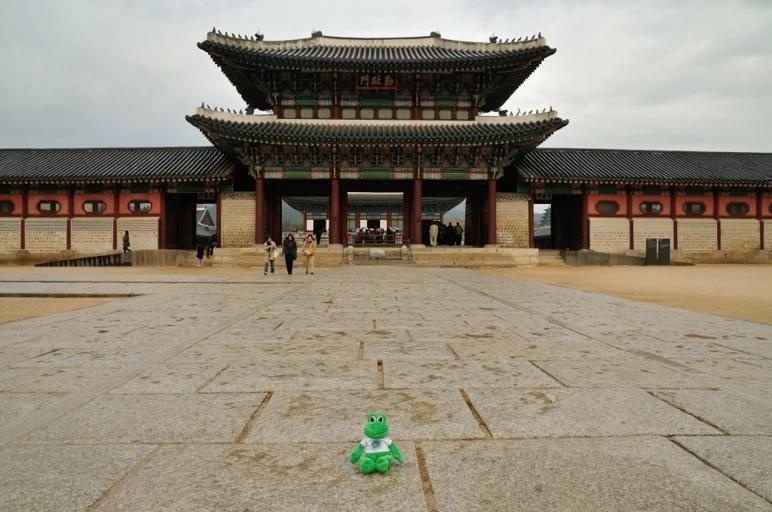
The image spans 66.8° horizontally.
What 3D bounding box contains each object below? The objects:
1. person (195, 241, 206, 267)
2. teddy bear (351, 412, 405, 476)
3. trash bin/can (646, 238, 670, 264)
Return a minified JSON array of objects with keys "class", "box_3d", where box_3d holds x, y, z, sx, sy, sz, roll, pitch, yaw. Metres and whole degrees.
[{"class":"person","box_3d":[-7.529,-0.044,23.737,0.324,1.076,0.645,4,14,-7]},{"class":"teddy bear","box_3d":[-0.079,1.837,5.607,0.637,0.510,0.329,0,-11,-2]},{"class":"trash bin/can","box_3d":[11.160,-0.151,24.098,0.922,1.057,0.646,2,8,21]}]
